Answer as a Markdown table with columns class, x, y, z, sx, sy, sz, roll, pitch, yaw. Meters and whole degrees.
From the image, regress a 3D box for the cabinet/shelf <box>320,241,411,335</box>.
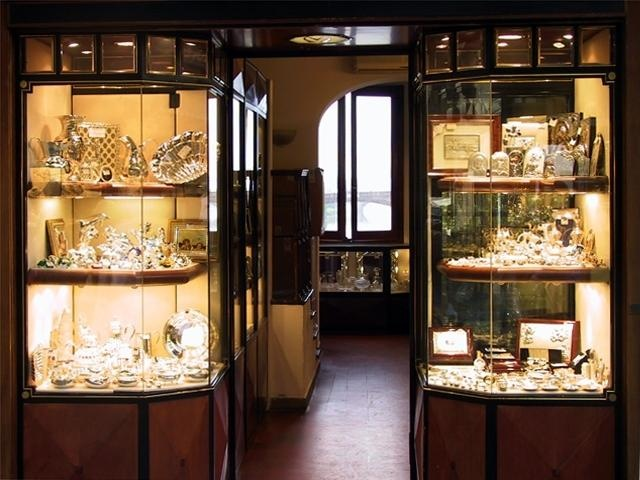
| class | x | y | z | sx | sy | sz | roll | pitch | yaw |
| --- | --- | --- | --- | --- | --- | --- | --- | --- | --- |
| cabinet/shelf | 0.570 | 0.630 | 8.203 | 1.152 | 1.301 | 0.425 | -1 | 0 | -6 |
